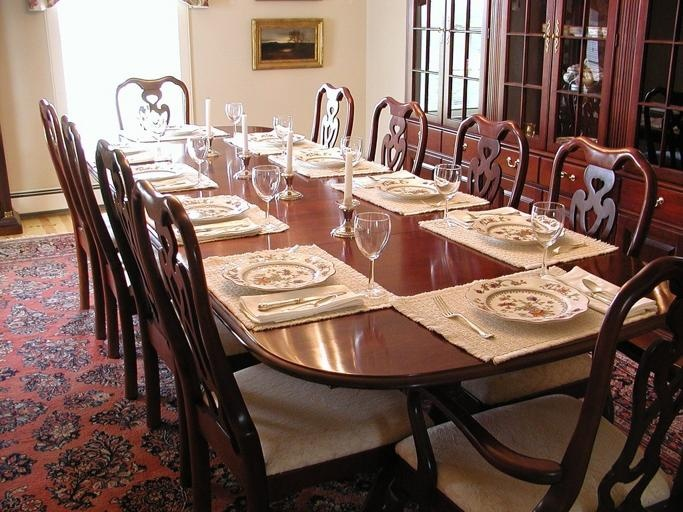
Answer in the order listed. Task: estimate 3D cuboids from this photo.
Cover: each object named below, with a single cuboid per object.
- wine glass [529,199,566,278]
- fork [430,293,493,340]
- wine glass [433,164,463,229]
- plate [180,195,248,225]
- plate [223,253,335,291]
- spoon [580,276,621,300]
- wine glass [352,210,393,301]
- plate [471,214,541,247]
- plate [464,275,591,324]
[{"bbox_3d":[0.645,-0.080,1.572,0.087,0.227,0.312,6,21,21],"label":"wine glass"},{"bbox_3d":[0.298,0.153,1.292,0.041,0.040,0.260,-14,35,-16],"label":"fork"},{"bbox_3d":[0.434,-0.279,2.042,0.095,0.231,0.299,2,20,12],"label":"wine glass"},{"bbox_3d":[-0.513,-0.196,2.037,0.192,0.030,0.192,-16,32,-35],"label":"plate"},{"bbox_3d":[-0.174,0.052,1.471,0.301,0.037,0.270,6,21,21],"label":"plate"},{"bbox_3d":[0.728,0.092,1.412,0.025,0.024,0.128,-15,26,-16],"label":"spoon"},{"bbox_3d":[0.091,0.009,1.444,0.128,0.304,0.140,-4,27,-2],"label":"wine glass"},{"bbox_3d":[0.608,-0.101,1.847,0.145,0.022,0.146,-19,34,-28],"label":"plate"},{"bbox_3d":[0.487,0.109,1.316,0.311,0.025,0.256,0,20,4],"label":"plate"}]
